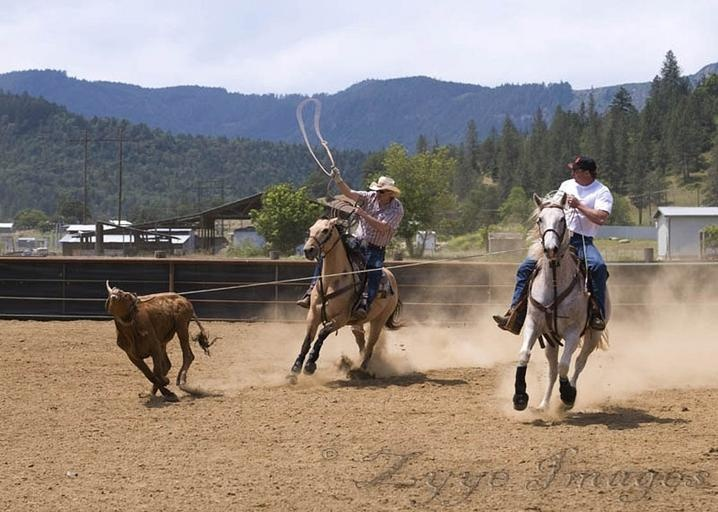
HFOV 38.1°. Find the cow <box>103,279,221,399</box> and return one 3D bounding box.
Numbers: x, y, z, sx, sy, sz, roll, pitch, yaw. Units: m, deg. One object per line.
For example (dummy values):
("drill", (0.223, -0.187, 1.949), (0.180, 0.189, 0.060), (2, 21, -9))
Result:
("cow", (-4.011, 1.661, 20.837), (1.142, 2.230, 2.087), (1, 6, 23))

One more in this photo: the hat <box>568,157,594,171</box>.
("hat", (4.427, -1.804, 20.591), (0.389, 0.222, 0.289), (1, 7, 11))

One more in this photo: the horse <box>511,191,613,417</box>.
("horse", (3.851, 0.844, 19.907), (1.162, 4.127, 2.369), (2, 7, 33))

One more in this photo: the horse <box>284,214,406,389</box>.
("horse", (-0.312, 0.869, 22.258), (1.030, 3.438, 2.764), (2, 7, 33))
